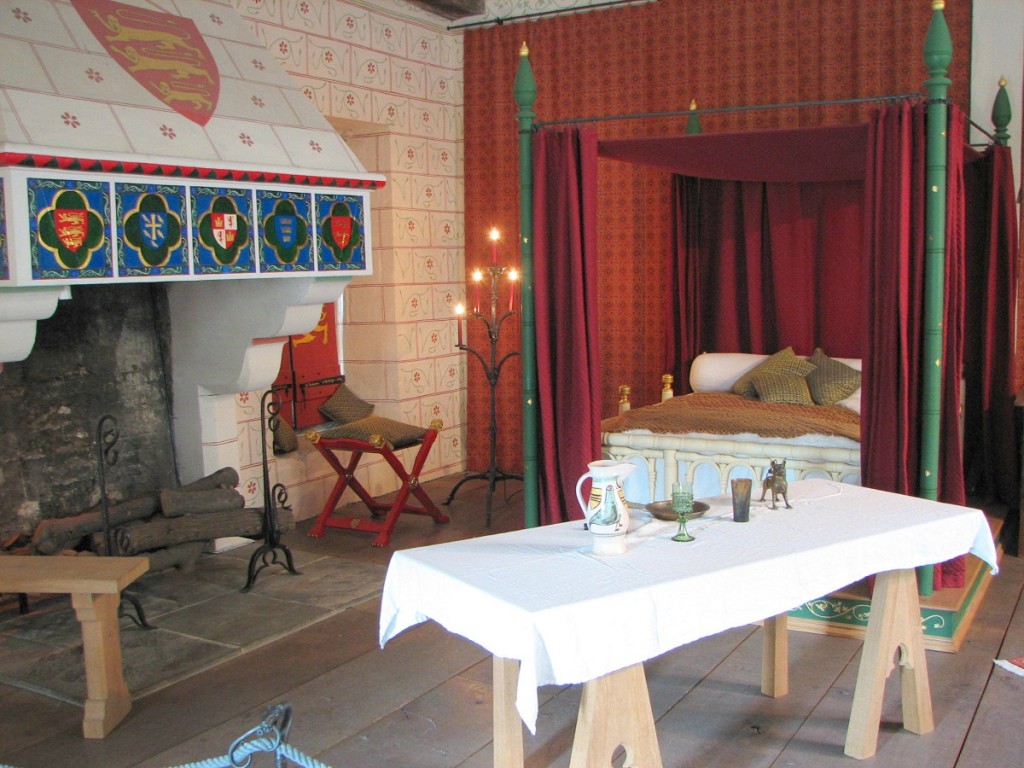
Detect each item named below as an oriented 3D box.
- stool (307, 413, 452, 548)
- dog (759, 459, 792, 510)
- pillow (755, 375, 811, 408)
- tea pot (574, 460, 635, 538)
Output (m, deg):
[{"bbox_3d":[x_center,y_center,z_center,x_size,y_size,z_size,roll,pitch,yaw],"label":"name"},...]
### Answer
[{"bbox_3d":[-1.061,0.643,7.236,1.003,0.906,0.986,5,10,39],"label":"stool"},{"bbox_3d":[1.258,0.461,4.300,0.111,0.238,0.294,-2,0,13],"label":"dog"},{"bbox_3d":[1.996,0.053,6.677,0.268,0.070,0.249,-7,40,7],"label":"pillow"},{"bbox_3d":[0.391,0.479,3.725,0.262,0.298,0.204,-2,1,12],"label":"tea pot"}]
